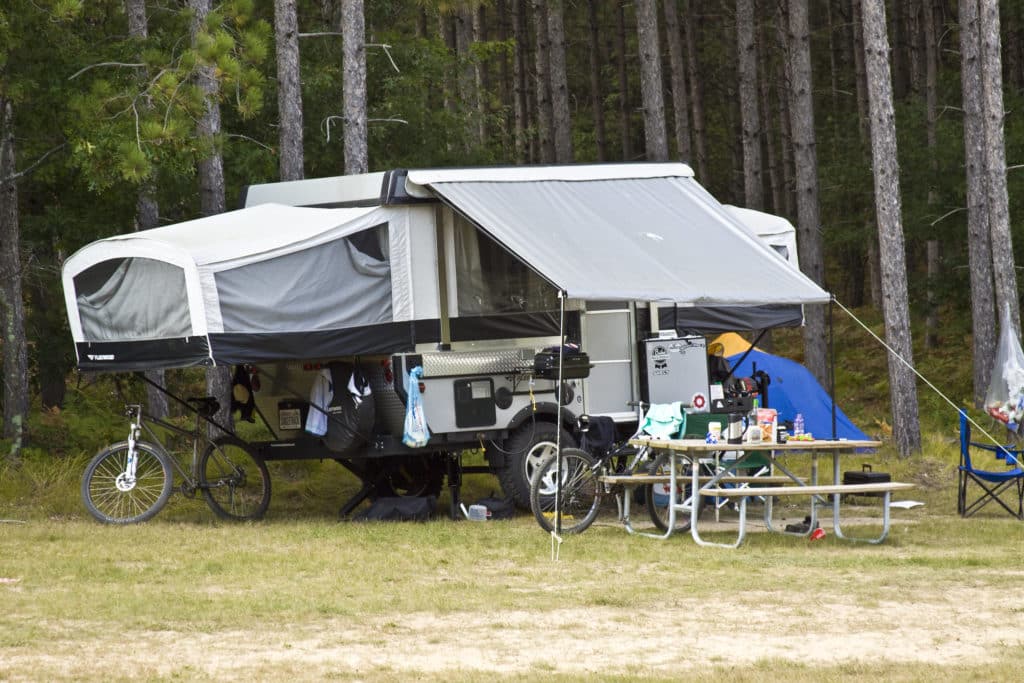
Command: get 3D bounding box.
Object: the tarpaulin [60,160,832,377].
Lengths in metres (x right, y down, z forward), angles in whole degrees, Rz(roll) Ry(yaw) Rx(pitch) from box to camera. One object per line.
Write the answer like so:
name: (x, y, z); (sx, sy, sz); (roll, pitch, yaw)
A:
tarpaulin: (-1.408, -1.127, 31.600); (9.480, 2.758, 2.468); (-2, 1, 5)

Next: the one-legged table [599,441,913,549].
one-legged table: (3.194, 2.084, 31.411); (3.751, 1.529, 2.606); (-2, 1, -17)

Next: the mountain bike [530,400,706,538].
mountain bike: (1.239, 1.861, 31.429); (2.156, 1.518, 1.453); (0, 1, -25)

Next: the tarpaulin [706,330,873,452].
tarpaulin: (4.167, 0.583, 35.468); (2.309, 1.017, 2.528); (2, 27, -16)

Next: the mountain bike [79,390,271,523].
mountain bike: (-4.639, 1.863, 31.807); (2.764, 1.966, 1.535); (-2, -35, -30)

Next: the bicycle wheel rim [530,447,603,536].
bicycle wheel rim: (0.745, 2.103, 31.080); (1.030, 1.197, 0.862); (-1, 1, 2)
